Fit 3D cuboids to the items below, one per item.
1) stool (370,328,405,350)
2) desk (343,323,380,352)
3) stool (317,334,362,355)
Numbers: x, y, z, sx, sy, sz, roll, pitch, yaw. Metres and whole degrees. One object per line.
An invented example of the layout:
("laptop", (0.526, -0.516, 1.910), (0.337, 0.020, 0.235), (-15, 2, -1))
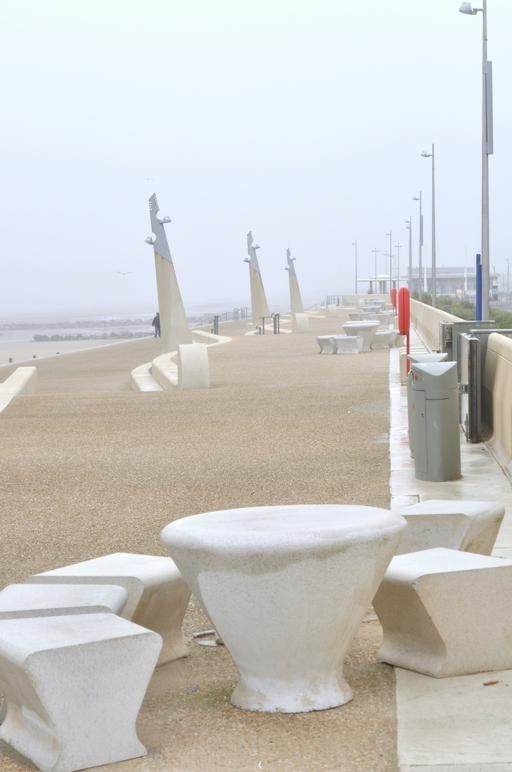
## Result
("stool", (5.850, -2.073, 30.551), (1.271, 0.585, 1.041), (0, 11, 13))
("desk", (4.658, -2.389, 30.099), (1.648, 1.642, 1.476), (-3, 2, 5))
("stool", (3.333, -1.691, 28.003), (1.873, 0.766, 0.849), (-2, 13, 30))
